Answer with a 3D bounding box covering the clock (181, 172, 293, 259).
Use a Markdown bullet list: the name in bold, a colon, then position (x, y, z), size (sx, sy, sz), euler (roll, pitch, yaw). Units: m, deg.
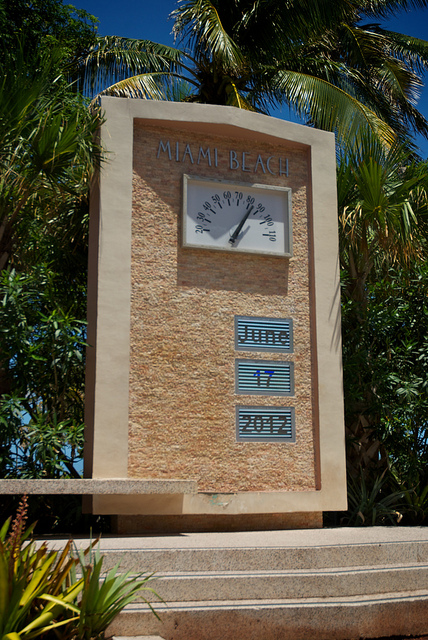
- **clock**: position (0.227, -1.234, 7.836), size (1.154, 0.741, 0.116), euler (6, -20, -20)
